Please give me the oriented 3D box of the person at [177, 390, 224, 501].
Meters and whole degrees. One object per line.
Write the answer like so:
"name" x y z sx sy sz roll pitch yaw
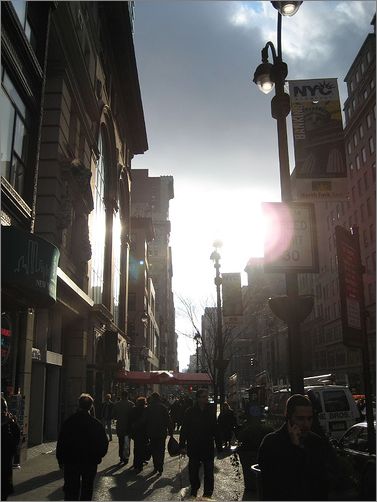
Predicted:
"person" 0.198 3.157 6.862 0.696 1.643 0.420 -1 -17 -3

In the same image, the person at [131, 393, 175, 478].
"person" -0.985 4.931 11.353 1.083 1.960 1.171 1 -18 -9
